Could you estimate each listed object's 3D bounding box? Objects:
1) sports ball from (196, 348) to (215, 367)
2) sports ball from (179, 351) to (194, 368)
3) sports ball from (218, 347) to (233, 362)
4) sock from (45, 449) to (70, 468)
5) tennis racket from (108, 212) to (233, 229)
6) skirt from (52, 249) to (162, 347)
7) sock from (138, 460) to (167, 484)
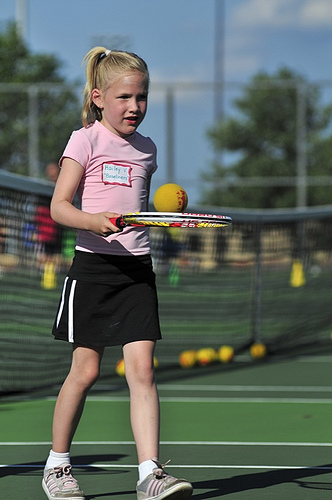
[{"bbox_3d":[0.317,0.865,4.503,0.125,0.132,0.109,4,-50,1],"label":"sports ball"},{"bbox_3d":[0.167,0.872,4.502,0.095,0.098,0.085,2,-32,2],"label":"sports ball"},{"bbox_3d":[0.458,0.789,4.269,0.106,0.110,0.095,7,-36,-1],"label":"sports ball"},{"bbox_3d":[-0.379,0.726,1.947,0.053,0.075,0.084,15,-21,-34],"label":"sock"},{"bbox_3d":[-0.012,-0.100,1.685,0.243,0.057,0.165,-1,11,-30],"label":"tennis racket"},{"bbox_3d":[-0.191,0.167,2.042,0.420,0.316,0.213,2,-1,11],"label":"skirt"},{"bbox_3d":[-0.047,0.711,1.802,0.074,0.076,0.086,-1,-3,-4],"label":"sock"}]
